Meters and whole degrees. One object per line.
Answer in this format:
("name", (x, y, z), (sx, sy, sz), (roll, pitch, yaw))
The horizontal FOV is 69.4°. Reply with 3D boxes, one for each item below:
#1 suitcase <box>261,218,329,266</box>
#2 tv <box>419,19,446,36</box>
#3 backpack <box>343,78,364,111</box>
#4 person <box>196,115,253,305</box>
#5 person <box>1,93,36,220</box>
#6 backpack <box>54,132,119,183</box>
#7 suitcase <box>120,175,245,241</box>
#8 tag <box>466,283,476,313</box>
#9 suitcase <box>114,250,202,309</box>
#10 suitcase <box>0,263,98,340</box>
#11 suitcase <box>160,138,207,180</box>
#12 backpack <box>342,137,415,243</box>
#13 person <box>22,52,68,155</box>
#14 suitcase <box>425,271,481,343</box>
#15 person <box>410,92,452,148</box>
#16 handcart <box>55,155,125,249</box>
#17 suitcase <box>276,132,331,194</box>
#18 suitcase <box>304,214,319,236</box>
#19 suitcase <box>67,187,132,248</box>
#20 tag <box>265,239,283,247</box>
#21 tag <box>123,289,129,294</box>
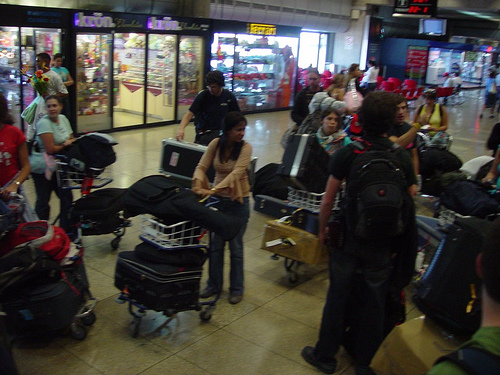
("suitcase", (0.785, 0.672, 4.472), (0.789, 0.404, 0.981), (-8, 8, -33))
("tv", (13.586, -12.000, 26.846), (1.587, 1.071, 1.081), (-2, 17, -18))
("backpack", (2.066, -1.874, 7.277), (0.452, 0.751, 0.391), (-8, 15, -7))
("person", (-0.275, 0.256, 3.953), (0.632, 2.077, 1.173), (4, 18, -2))
("person", (-2.465, -0.259, 3.758), (0.266, 1.345, 0.721), (-6, 21, -30))
("backpack", (-2.001, -0.353, 4.422), (0.679, 0.586, 0.432), (-2, 18, -19))
("suitcase", (-0.653, 0.188, 3.332), (1.196, 0.317, 0.649), (22, 32, 17))
("tag", (1.488, 0.748, 2.428), (0.039, 0.194, 0.080), (11, 19, 16))
("suitcase", (-0.837, 0.821, 3.258), (0.628, 0.283, 0.695), (1, 8, -30))
("suitcase", (-1.725, 1.022, 3.162), (0.735, 0.497, 0.364), (-9, 22, -38))
("suitcase", (-0.733, -0.347, 4.746), (0.813, 0.464, 0.456), (16, 17, 30))
("backpack", (1.042, 0.058, 2.857), (0.572, 0.801, 0.426), (6, 18, 4))
("person", (-4.887, -1.897, 8.613), (1.204, 2.312, 1.066), (-5, 26, -31))
("suitcase", (1.424, 0.795, 2.500), (0.335, 0.459, 0.148), (16, 21, 33))
("person", (3.673, -1.373, 7.389), (0.917, 1.049, 0.706), (12, 39, 38))
("handcart", (-2.227, 0.128, 4.906), (1.008, 1.179, 0.837), (13, 20, 21))
("suitcase", (0.624, -0.353, 4.358), (0.328, 0.422, 0.491), (23, 7, 21))
("suitcase", (0.708, 0.432, 4.176), (0.155, 0.208, 0.202), (6, 17, 5))
("suitcase", (-1.935, 0.384, 4.880), (0.912, 0.755, 0.803), (16, 17, 12))
("tag", (0.277, 0.664, 4.316), (0.265, 0.056, 0.061), (-16, -13, 33))
("tag", (-1.103, 0.921, 3.195), (0.032, 0.024, 0.007), (15, 12, 10))
